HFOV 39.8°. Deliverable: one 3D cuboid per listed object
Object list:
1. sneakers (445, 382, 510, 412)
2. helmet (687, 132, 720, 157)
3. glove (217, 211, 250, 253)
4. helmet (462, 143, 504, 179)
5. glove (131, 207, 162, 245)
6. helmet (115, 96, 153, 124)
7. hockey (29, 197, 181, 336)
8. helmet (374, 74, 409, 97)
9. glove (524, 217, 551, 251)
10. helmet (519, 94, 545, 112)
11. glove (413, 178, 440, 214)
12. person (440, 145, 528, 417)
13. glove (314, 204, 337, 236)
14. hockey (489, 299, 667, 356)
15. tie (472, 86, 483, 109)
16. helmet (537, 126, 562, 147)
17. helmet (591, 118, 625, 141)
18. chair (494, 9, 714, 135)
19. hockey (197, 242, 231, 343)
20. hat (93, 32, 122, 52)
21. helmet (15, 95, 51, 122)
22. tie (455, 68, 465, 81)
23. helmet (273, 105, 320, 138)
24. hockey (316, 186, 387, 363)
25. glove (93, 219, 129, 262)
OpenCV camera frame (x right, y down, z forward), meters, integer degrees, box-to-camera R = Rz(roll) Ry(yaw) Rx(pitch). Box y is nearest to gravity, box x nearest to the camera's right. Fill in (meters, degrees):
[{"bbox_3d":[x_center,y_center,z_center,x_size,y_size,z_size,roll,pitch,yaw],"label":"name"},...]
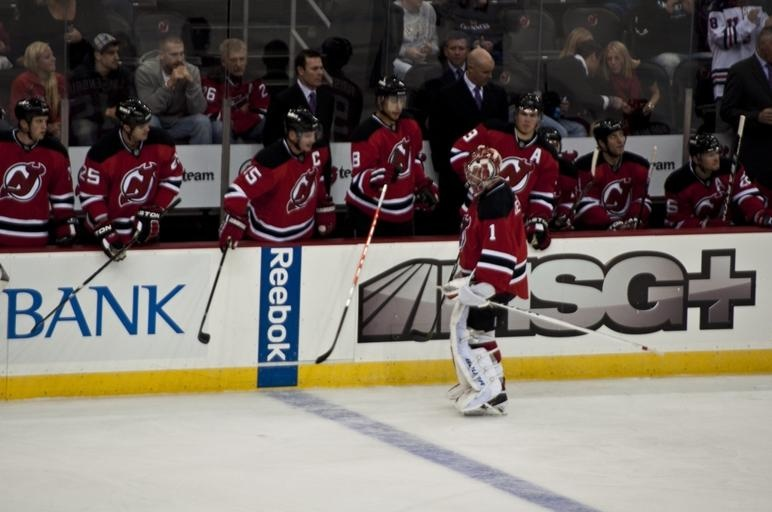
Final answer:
[{"bbox_3d":[0.778,1.236,8.967,0.549,0.201,0.263,7,24,7],"label":"sneakers"},{"bbox_3d":[3.068,-1.081,10.425,0.255,0.245,0.209,1,17,38],"label":"helmet"},{"bbox_3d":[-1.315,-0.205,9.196,0.232,0.315,0.154,-2,6,-8],"label":"glove"},{"bbox_3d":[0.787,-0.752,8.722,0.272,0.267,0.193,-1,6,2],"label":"helmet"},{"bbox_3d":[-2.038,-0.273,9.301,0.217,0.336,0.247,2,-17,-25],"label":"glove"},{"bbox_3d":[-2.163,-1.220,9.211,0.261,0.202,0.245,-2,-4,-35],"label":"helmet"},{"bbox_3d":[-2.401,0.130,9.092,0.224,1.538,0.132,38,-16,36],"label":"hockey"},{"bbox_3d":[0.046,-1.535,9.892,0.252,0.194,0.239,-4,2,14],"label":"helmet"},{"bbox_3d":[1.372,-0.186,9.800,0.243,0.285,0.137,9,-21,-28],"label":"glove"},{"bbox_3d":[1.295,-1.366,9.650,0.213,0.151,0.122,-2,6,-6],"label":"helmet"},{"bbox_3d":[0.377,-0.582,10.149,0.212,0.312,0.202,-1,6,1],"label":"glove"},{"bbox_3d":[0.827,0.216,8.863,0.663,2.222,0.460,-1,6,8],"label":"person"},{"bbox_3d":[-0.542,-0.339,9.985,0.250,0.441,0.311,0,3,-3],"label":"glove"},{"bbox_3d":[1.668,0.656,9.714,1.608,0.081,0.190,14,-35,-11],"label":"hockey"},{"bbox_3d":[0.902,-1.546,10.414,0.074,0.253,0.055,-3,0,-16],"label":"tie"},{"bbox_3d":[1.570,-1.139,10.213,0.184,0.217,0.217,1,5,-6],"label":"helmet"},{"bbox_3d":[2.162,-1.221,10.435,0.296,0.202,0.152,1,6,21],"label":"helmet"},{"bbox_3d":[2.457,-1.883,10.898,2.797,1.133,0.654,0,12,-4],"label":"chair"},{"bbox_3d":[-1.464,0.287,9.203,0.099,0.963,0.170,20,-9,-33],"label":"hockey"},{"bbox_3d":[-2.617,-1.990,10.013,0.189,0.098,0.133,-14,21,-3],"label":"hat"},{"bbox_3d":[-3.054,-1.256,9.244,0.279,0.247,0.234,-13,10,7],"label":"helmet"},{"bbox_3d":[0.722,-1.764,10.488,0.086,0.115,0.037,1,-24,2],"label":"tie"},{"bbox_3d":[-0.731,-1.155,9.221,0.277,0.253,0.226,-5,11,2],"label":"helmet"},{"bbox_3d":[-0.298,0.223,9.557,0.201,1.707,0.091,24,-9,-17],"label":"hockey"},{"bbox_3d":[-2.326,-0.114,9.064,0.326,0.319,0.197,4,7,41],"label":"glove"}]
